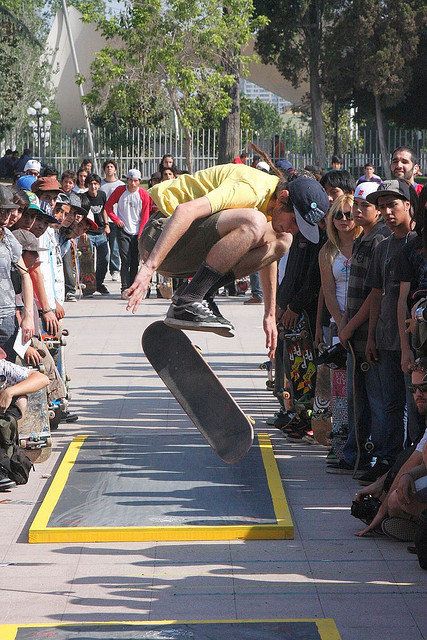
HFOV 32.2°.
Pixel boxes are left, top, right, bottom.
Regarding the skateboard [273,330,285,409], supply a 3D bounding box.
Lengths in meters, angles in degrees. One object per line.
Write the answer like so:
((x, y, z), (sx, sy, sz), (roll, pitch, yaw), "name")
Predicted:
((0.546, 0.394, 5.862), (0.085, 0.548, 0.156), (1, -2, 13), "skateboard")

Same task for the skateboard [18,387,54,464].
((-1.199, 0.625, 4.869), (0.115, 0.504, 0.266), (0, 9, 6), "skateboard")

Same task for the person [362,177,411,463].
((0.990, 0.035, 4.371), (0.257, 1.703, 0.425), (1, 6, -5), "person")

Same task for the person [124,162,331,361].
((0.109, -0.402, 4.176), (0.993, 0.989, 0.876), (1, 6, -1), "person")

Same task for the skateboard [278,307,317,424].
((0.638, 0.352, 5.524), (0.245, 0.873, 0.133), (-8, 2, 44), "skateboard")

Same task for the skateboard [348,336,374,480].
((0.927, 0.522, 4.680), (0.143, 0.776, 0.218), (6, -13, -27), "skateboard")

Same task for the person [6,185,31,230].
((-1.380, -0.812, 5.270), (0.157, 0.314, 0.767), (0, 6, -14), "person")
